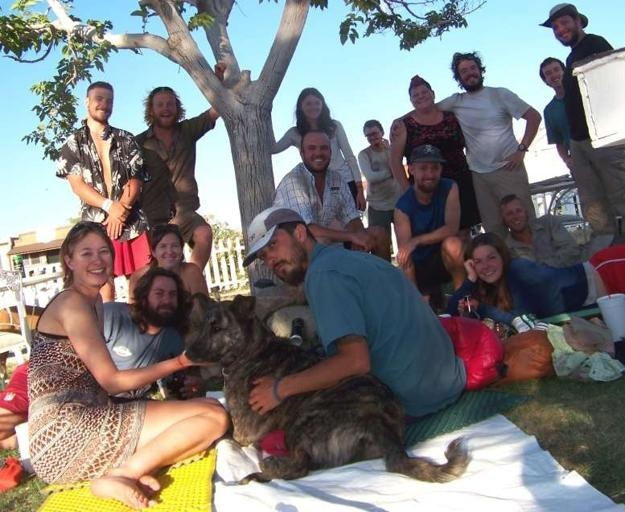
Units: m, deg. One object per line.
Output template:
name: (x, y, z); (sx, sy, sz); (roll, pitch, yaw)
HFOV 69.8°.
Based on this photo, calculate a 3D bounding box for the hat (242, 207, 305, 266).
hat: (-0.342, -0.195, 3.279); (0.482, 0.274, 0.374); (-36, -7, -10)

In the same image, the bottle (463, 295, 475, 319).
bottle: (1.705, 0.567, 4.889); (0.144, 0.231, 0.106); (-3, -3, 8)

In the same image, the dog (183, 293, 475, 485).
dog: (0.101, 0.905, 3.227); (1.870, 1.109, 0.924); (11, -2, 21)
